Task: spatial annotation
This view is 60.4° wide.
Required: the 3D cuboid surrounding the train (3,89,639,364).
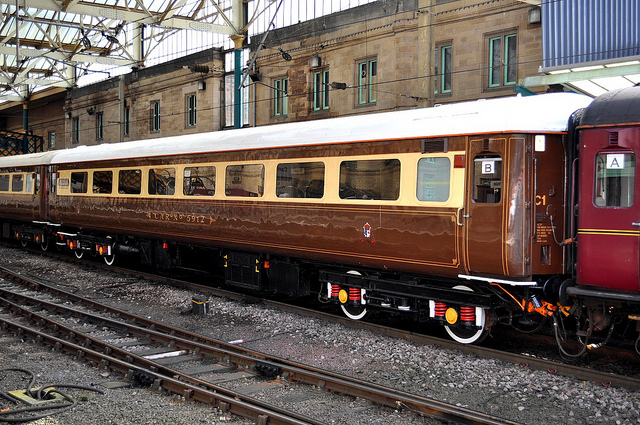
[{"bbox_3d":[-0.378,0.173,13.405,14.107,4.988,1.659,1,4,33],"label":"train"}]
